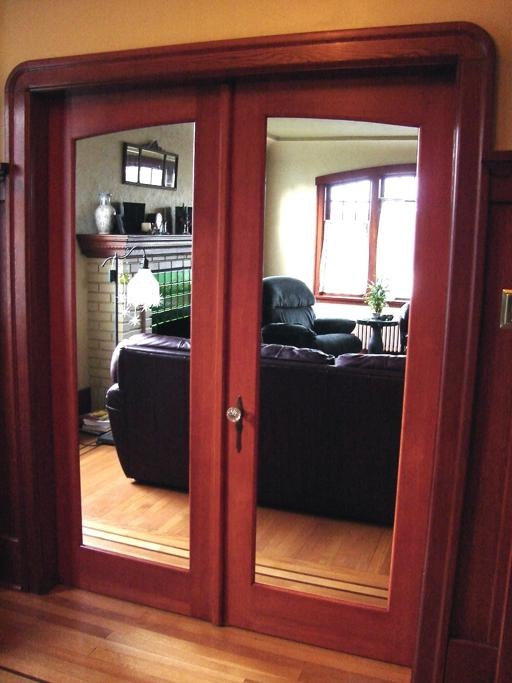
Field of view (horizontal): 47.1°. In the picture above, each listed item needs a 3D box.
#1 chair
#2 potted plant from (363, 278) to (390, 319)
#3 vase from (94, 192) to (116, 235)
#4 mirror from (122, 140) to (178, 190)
[{"bbox_3d":[0.278,-0.080,2.973,0.466,0.490,0.452,-4,5,-28],"label":"chair"},{"bbox_3d":[0.365,-0.129,1.818,0.086,0.148,0.084,4,8,38],"label":"potted plant"},{"bbox_3d":[-0.684,-0.569,2.641,0.113,0.216,0.119,-7,22,-33],"label":"vase"},{"bbox_3d":[-0.397,-0.670,2.218,0.193,0.175,0.021,21,45,10],"label":"mirror"}]
